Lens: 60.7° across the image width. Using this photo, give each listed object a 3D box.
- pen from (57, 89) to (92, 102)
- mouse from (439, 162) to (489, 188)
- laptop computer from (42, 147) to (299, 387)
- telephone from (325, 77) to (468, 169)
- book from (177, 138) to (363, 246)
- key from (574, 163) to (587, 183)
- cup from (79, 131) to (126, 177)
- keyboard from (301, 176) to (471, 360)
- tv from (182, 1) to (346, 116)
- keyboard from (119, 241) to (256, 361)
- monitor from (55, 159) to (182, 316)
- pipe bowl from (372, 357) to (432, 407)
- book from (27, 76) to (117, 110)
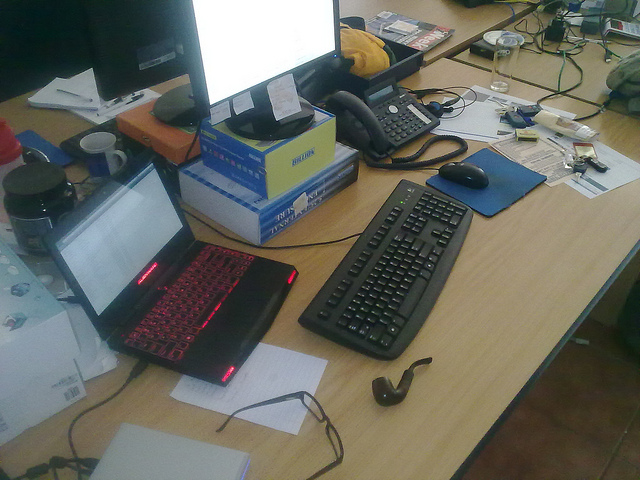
[{"bbox_3d":[-0.811,-0.479,1.820,0.100,0.012,0.012,22,50,13],"label":"pen"},{"bbox_3d":[0.410,-0.184,1.550,0.126,0.040,0.065,21,48,20],"label":"mouse"},{"bbox_3d":[-0.322,0.075,1.227,0.430,0.280,0.460,19,43,23],"label":"laptop computer"},{"bbox_3d":[0.226,-0.354,1.696,0.306,0.179,0.303,-24,46,-33],"label":"telephone"},{"bbox_3d":[-0.136,-0.186,1.528,0.315,0.089,0.438,37,51,26],"label":"book"},{"bbox_3d":[0.767,-0.192,1.608,0.031,0.012,0.062,13,88,18],"label":"key"},{"bbox_3d":[-0.579,-0.220,1.504,0.136,0.116,0.079,14,46,10],"label":"cup"},{"bbox_3d":[0.188,0.047,1.340,0.267,0.068,0.505,23,60,11],"label":"keyboard"},{"bbox_3d":[-0.147,-0.454,1.355,0.445,0.234,0.033,-27,41,-25],"label":"tv"},{"bbox_3d":[-0.283,0.132,1.259,0.213,0.045,0.389,24,37,4],"label":"keyboard"},{"bbox_3d":[-0.424,-0.013,1.192,0.081,0.162,0.330,21,50,15],"label":"monitor"},{"bbox_3d":[0.171,0.293,1.168,0.099,0.038,0.149,14,43,22],"label":"pipe bowl"},{"bbox_3d":[-0.832,-0.482,1.825,0.231,0.025,0.222,31,48,20],"label":"book"}]
